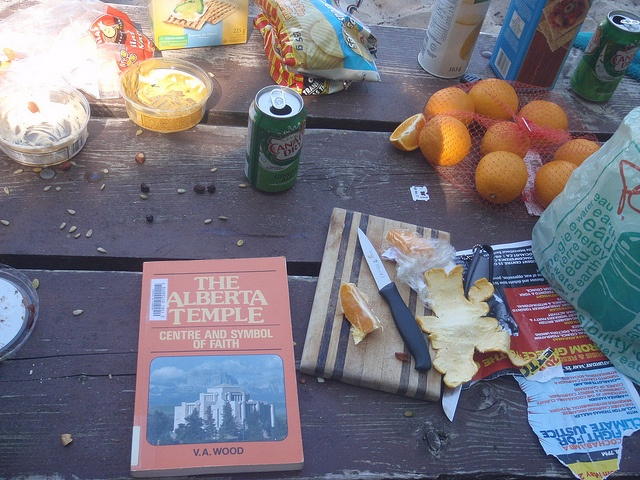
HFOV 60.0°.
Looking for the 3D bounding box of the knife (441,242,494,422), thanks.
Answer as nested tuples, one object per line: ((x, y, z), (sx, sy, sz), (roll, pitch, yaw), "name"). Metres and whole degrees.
((0.344, 0.200, 1.270), (0.109, 0.019, 0.425), (14, 58, 31), "knife")

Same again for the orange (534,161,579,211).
((0.560, -0.147, 1.374), (0.124, 0.100, 0.098), (4, 36, 0), "orange")

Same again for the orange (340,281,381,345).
((0.087, 0.155, 1.209), (0.067, 0.037, 0.127), (-14, 60, -18), "orange")

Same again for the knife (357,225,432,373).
((0.162, 0.123, 1.240), (0.052, 0.029, 0.367), (-15, 61, -19), "knife")

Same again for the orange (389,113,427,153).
((0.240, -0.286, 1.504), (0.071, 0.047, 0.134), (40, 58, -5), "orange")

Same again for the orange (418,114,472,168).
((0.323, -0.275, 1.495), (0.130, 0.115, 0.157), (12, 39, 13), "orange")

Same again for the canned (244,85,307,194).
((-0.106, -0.226, 1.361), (0.144, 0.259, 0.127), (-26, 54, -31), "canned")

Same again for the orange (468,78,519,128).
((0.471, -0.372, 1.536), (0.124, 0.100, 0.099), (31, 44, 33), "orange")

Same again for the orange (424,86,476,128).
((0.346, -0.354, 1.527), (0.109, 0.118, 0.114), (21, 34, -8), "orange")

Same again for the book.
((-0.211, 0.251, 1.149), (0.322, 0.089, 0.444), (0, 57, -10), "book")

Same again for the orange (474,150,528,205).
((0.438, -0.162, 1.382), (0.115, 0.117, 0.144), (6, 37, 22), "orange")

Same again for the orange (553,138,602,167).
((0.640, -0.221, 1.384), (0.088, 0.051, 0.076), (-11, 43, 4), "orange")

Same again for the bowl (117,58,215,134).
((-0.398, -0.388, 1.462), (0.208, 0.077, 0.215), (8, 55, -12), "bowl")
